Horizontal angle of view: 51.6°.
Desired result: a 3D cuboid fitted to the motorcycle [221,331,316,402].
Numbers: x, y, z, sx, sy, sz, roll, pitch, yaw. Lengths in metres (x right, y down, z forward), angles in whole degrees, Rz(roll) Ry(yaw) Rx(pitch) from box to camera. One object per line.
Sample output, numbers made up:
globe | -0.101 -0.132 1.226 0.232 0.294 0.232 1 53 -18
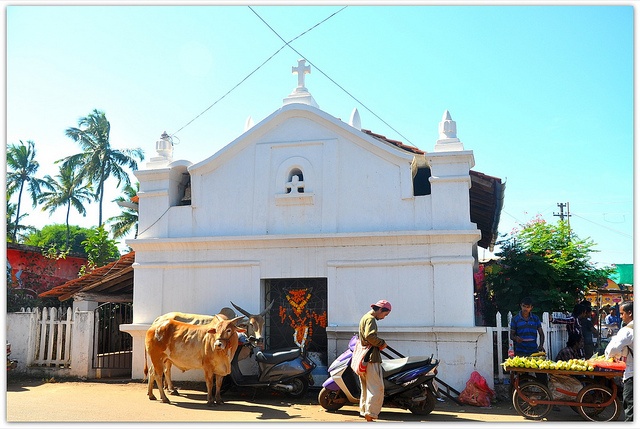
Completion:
motorcycle | -1.301 4.114 18.217 2.433 1.656 1.534 0 -1 9

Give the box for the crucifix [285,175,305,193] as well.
crucifix | -0.718 -0.874 18.948 0.499 0.470 0.079 -1 -20 7

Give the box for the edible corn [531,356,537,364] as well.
edible corn | 5.209 3.555 16.206 0.085 0.064 0.148 23 13 -8

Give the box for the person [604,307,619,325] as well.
person | 10.895 3.890 24.984 0.449 0.755 0.782 -9 -16 34

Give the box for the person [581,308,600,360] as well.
person | 7.384 3.205 18.261 0.383 1.303 1.066 0 0 24

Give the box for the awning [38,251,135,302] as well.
awning | -7.204 2.017 21.586 2.887 1.496 1.540 0 0 7

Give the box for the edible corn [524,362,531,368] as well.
edible corn | 5.036 3.664 16.150 0.112 0.055 0.117 -12 0 -16

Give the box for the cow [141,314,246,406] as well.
cow | -3.357 3.786 17.582 3.379 2.450 1.024 -2 -7 26

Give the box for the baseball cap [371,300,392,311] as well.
baseball cap | 1.514 2.168 16.017 0.337 0.200 0.245 21 -11 6

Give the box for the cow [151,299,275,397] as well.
cow | -3.090 3.688 17.989 3.830 2.746 1.344 -3 -11 17
